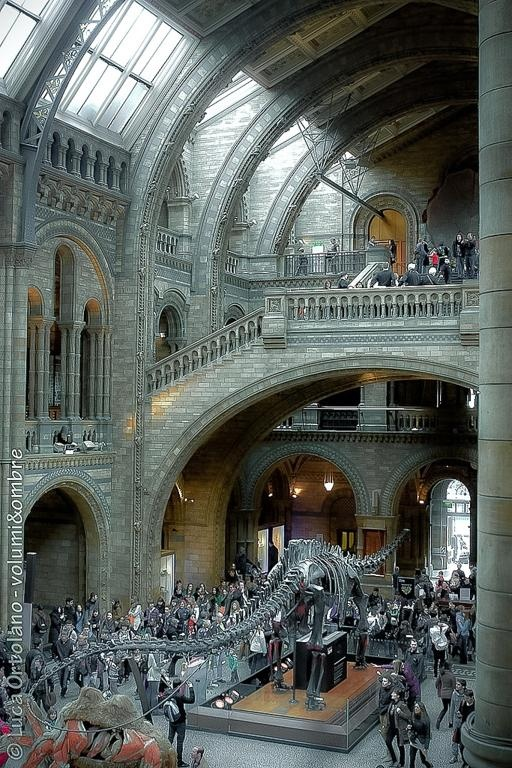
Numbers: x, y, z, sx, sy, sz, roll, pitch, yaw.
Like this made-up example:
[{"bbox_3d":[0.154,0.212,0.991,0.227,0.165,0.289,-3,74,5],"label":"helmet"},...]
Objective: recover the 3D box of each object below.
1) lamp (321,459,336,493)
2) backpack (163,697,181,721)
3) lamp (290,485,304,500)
[{"bbox_3d":[2.426,3.233,33.505,0.391,1.018,0.865,-1,-8,3],"label":"lamp"},{"bbox_3d":[-1.115,4.268,12.716,0.148,0.327,0.281,7,-11,-42],"label":"backpack"},{"bbox_3d":[1.345,3.824,34.066,0.333,0.479,0.153,15,3,-5],"label":"lamp"}]
